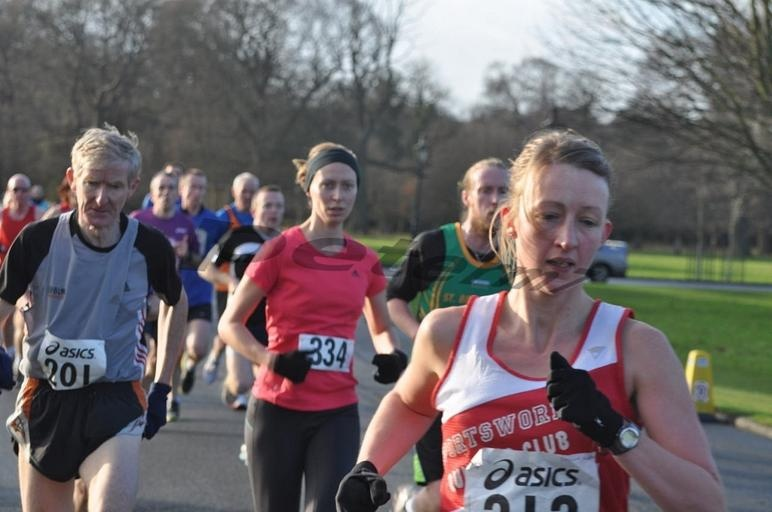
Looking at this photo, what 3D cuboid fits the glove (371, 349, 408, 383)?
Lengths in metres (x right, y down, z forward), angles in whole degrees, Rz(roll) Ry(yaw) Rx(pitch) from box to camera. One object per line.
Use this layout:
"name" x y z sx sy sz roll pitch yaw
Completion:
"glove" 0.027 0.876 9.018 0.266 0.246 0.221 -14 -37 21

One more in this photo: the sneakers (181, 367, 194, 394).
"sneakers" -2.361 1.470 13.176 0.108 0.330 0.145 16 20 -2

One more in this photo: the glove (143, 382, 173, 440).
"glove" -1.860 1.239 9.065 0.204 0.515 0.154 9 -9 -3

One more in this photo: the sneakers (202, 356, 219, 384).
"sneakers" -2.120 1.432 13.390 0.162 0.502 0.211 2 14 -12

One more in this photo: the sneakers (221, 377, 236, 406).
"sneakers" -1.700 1.475 12.132 0.141 0.202 0.434 0 -23 -11
